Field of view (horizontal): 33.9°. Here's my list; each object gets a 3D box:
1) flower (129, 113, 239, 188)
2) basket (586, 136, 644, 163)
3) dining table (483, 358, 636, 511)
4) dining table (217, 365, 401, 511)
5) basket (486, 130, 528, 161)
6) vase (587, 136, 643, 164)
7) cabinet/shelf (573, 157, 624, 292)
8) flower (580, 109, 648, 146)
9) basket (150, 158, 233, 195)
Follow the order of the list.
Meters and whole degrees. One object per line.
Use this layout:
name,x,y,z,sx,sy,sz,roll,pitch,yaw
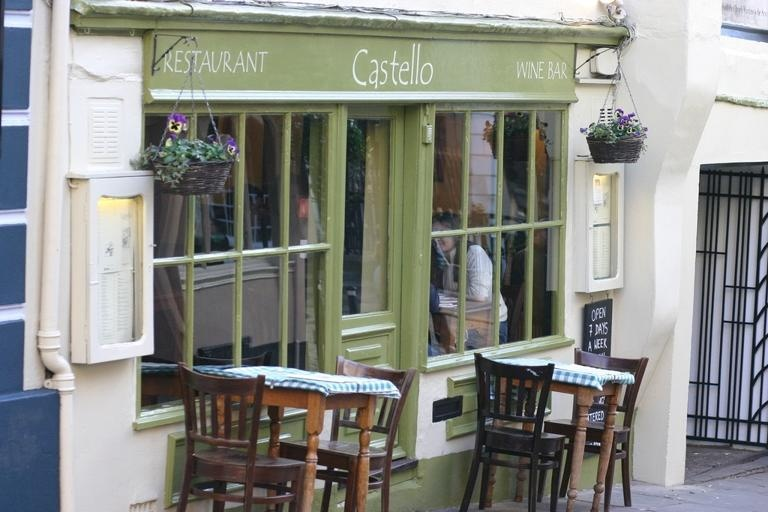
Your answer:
flower,-1.406,-0.683,9.451,0.592,0.449,0.614,0,-6,12
basket,2.102,-0.960,11.519,0.511,0.228,0.324,3,3,32
dining table,1.730,1.578,10.783,0.780,1.331,0.451,-2,4,-45
dining table,-0.636,1.535,9.522,1.073,1.171,1.245,-3,6,-42
basket,1.128,-1.006,11.446,0.235,0.307,0.446,-1,-1,44
vase,2.092,-0.949,11.455,0.302,0.153,0.303,0,-1,40
cabinet/shelf,2.055,-0.289,12.014,0.608,1.247,0.190,-1,4,-36
flower,2.202,-1.118,11.586,0.535,0.280,0.499,2,-4,-6
basket,-1.372,-0.577,9.240,0.525,0.249,0.158,1,3,-12
